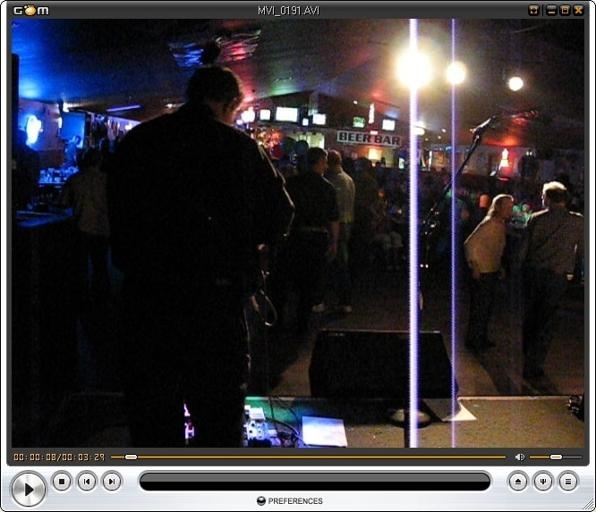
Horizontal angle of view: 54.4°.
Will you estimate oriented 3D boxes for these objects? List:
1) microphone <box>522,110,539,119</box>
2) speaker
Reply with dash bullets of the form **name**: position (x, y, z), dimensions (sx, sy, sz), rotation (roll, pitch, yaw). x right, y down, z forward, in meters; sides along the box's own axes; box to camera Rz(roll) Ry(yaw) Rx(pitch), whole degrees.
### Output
- **microphone**: position (0.667, -0.403, 1.651), dimensions (0.018, 0.021, 0.056), rotation (-4, 9, -34)
- **speaker**: position (0.263, 0.385, 2.108), dimensions (0.394, 0.276, 0.093), rotation (0, -16, 15)
